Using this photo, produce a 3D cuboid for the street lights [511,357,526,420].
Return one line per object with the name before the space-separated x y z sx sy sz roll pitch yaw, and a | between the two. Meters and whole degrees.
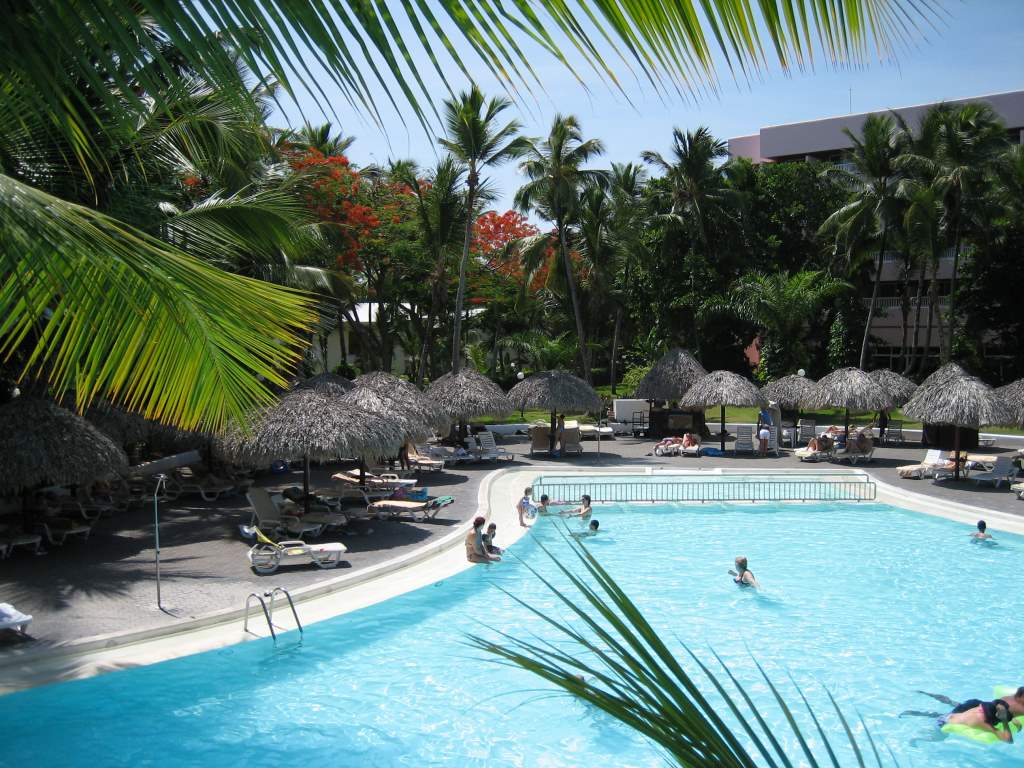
street lights | 0.373 0.243 45.458 0.805 3.037 0.807 7 -4 -19
